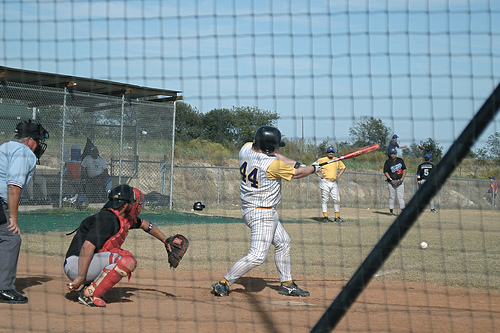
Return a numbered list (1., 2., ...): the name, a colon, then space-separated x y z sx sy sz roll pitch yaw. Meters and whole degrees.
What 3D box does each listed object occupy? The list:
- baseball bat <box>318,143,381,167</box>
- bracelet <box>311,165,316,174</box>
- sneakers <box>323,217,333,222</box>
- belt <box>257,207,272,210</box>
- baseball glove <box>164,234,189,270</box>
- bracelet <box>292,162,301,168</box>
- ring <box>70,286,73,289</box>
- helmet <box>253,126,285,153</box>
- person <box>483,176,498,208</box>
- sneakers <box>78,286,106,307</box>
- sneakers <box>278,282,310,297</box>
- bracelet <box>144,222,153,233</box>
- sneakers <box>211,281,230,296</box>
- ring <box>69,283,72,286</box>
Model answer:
1. baseball bat: 1.876 -0.223 13.595 0.996 0.135 0.129 -19 -11 6
2. bracelet: 1.183 0.049 13.544 0.048 0.154 0.063 5 12 17
3. sneakers: 2.234 1.571 21.460 0.117 0.158 0.361 0 -1 19
4. belt: 0.266 0.780 13.528 0.266 0.043 0.038 0 8 -8
5. baseball glove: -1.371 1.586 13.524 0.357 0.658 0.299 -7 -18 32
6. bracelet: 0.904 -0.024 14.164 0.051 0.137 0.104 30 12 -10
7. ring: -3.169 2.156 12.833 0.043 0.043 0.010 20 -21 -18
8. helmet: 0.314 -0.524 13.699 0.556 0.431 0.415 12 2 -30
9. person: 9.841 1.041 29.513 0.440 1.428 3.187 4 8 19
10. sneakers: -2.887 2.391 13.123 0.595 0.292 0.244 4 -3 7
11. sneakers: 0.820 2.348 13.706 0.582 0.298 0.239 3 -1 3
12. bracelet: -1.880 1.140 13.606 0.118 0.169 0.169 44 10 -11
13. sneakers: -0.552 2.288 13.625 0.336 0.288 0.295 1 8 -3
14. ring: -3.172 2.096 12.848 0.047 0.037 0.047 4 1 0
